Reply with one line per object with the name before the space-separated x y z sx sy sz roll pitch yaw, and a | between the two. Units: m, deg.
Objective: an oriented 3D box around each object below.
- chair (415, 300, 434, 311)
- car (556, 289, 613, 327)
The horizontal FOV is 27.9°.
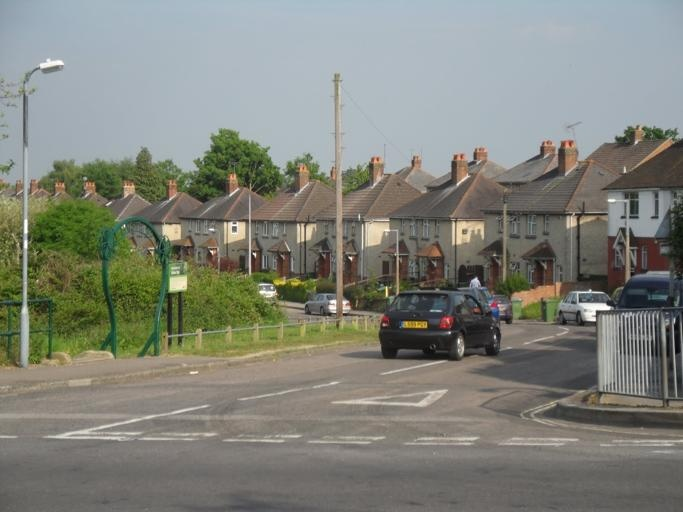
chair | 2.384 1.399 39.023 0.484 0.281 0.192 -3 -5 10
car | 10.560 2.094 59.746 2.221 2.156 4.159 0 -5 -13
